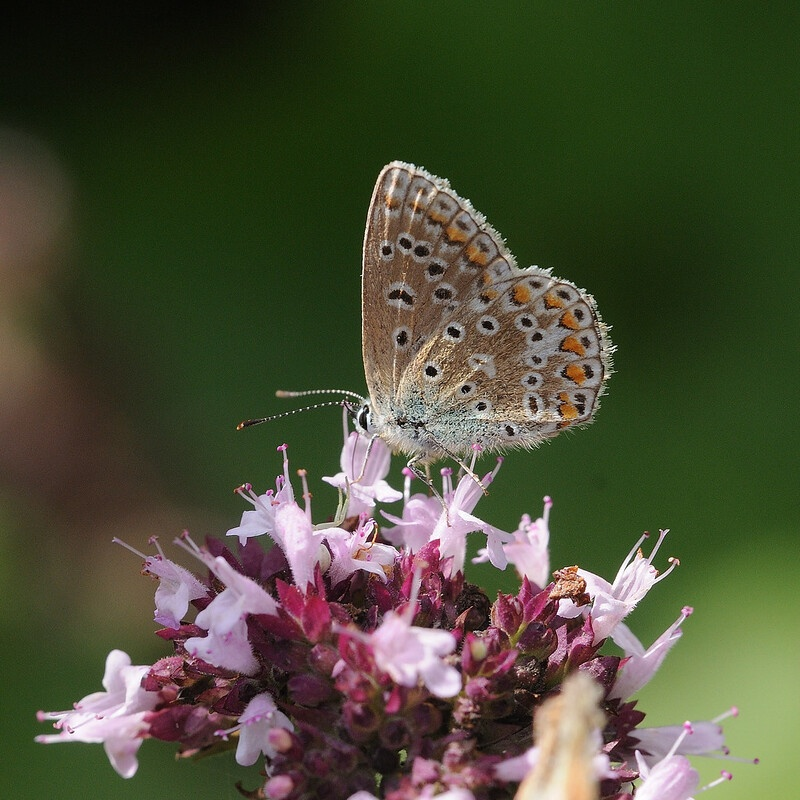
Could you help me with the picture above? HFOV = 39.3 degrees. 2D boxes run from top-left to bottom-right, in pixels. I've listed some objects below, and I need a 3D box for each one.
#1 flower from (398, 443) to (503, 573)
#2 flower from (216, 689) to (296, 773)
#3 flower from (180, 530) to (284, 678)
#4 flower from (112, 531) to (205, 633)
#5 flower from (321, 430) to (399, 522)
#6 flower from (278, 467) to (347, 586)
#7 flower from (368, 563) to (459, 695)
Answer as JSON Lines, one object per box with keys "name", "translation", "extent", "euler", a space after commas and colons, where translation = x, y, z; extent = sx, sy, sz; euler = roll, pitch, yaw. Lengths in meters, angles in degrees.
{"name": "flower", "translation": [0.166, 0.384, 3.596], "extent": [0.402, 0.286, 0.183], "euler": [-7, -21, 13]}
{"name": "flower", "translation": [-0.416, 0.940, 3.238], "extent": [0.207, 0.208, 0.087], "euler": [35, -83, -16]}
{"name": "flower", "translation": [-0.482, 0.571, 3.252], "extent": [0.260, 0.410, 0.353], "euler": [3, -35, -22]}
{"name": "flower", "translation": [-0.703, 0.561, 3.430], "extent": [0.308, 0.172, 0.255], "euler": [14, -1, -18]}
{"name": "flower", "translation": [-0.123, 0.256, 3.806], "extent": [0.333, 0.316, 0.178], "euler": [5, -67, 18]}
{"name": "flower", "translation": [-0.296, 0.406, 3.397], "extent": [0.195, 0.371, 0.183], "euler": [7, -39, -27]}
{"name": "flower", "translation": [0.039, 0.658, 3.161], "extent": [0.252, 0.297, 0.213], "euler": [36, -58, -11]}
